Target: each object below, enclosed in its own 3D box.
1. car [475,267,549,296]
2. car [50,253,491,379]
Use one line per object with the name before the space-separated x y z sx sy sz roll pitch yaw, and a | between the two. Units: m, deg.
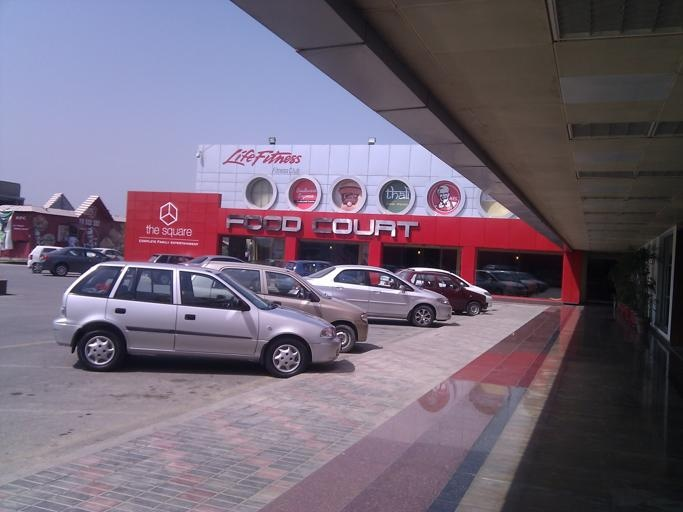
car | 11.409 1.655 31.963 3.901 1.356 1.927 -1 7 21
car | -2.490 0.971 8.575 4.310 1.608 2.004 0 -1 -4
